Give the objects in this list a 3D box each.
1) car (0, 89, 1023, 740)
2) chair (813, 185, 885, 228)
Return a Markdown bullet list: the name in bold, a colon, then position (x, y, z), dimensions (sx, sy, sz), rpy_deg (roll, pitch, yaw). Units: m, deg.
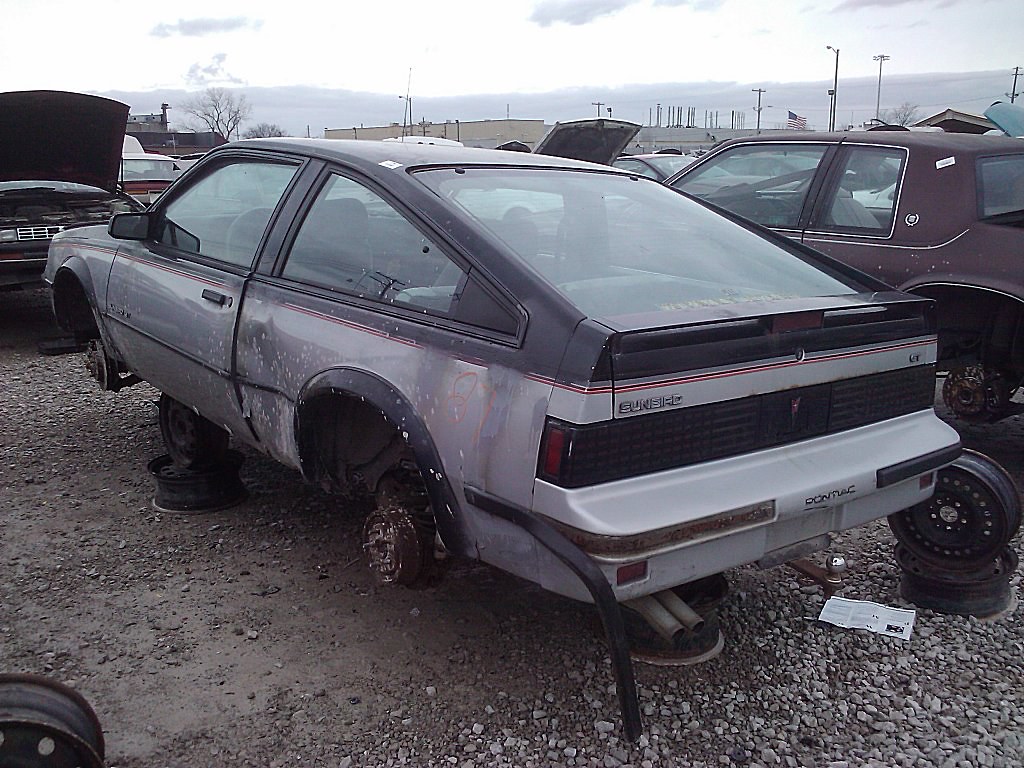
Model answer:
- **car**: position (-0.806, -0.362, 3.418), dimensions (4.816, 1.271, 2.369), rpy_deg (21, 29, 36)
- **chair**: position (2.447, -1.245, 4.500), dimensions (0.338, 0.164, 0.437), rpy_deg (7, 42, 23)
